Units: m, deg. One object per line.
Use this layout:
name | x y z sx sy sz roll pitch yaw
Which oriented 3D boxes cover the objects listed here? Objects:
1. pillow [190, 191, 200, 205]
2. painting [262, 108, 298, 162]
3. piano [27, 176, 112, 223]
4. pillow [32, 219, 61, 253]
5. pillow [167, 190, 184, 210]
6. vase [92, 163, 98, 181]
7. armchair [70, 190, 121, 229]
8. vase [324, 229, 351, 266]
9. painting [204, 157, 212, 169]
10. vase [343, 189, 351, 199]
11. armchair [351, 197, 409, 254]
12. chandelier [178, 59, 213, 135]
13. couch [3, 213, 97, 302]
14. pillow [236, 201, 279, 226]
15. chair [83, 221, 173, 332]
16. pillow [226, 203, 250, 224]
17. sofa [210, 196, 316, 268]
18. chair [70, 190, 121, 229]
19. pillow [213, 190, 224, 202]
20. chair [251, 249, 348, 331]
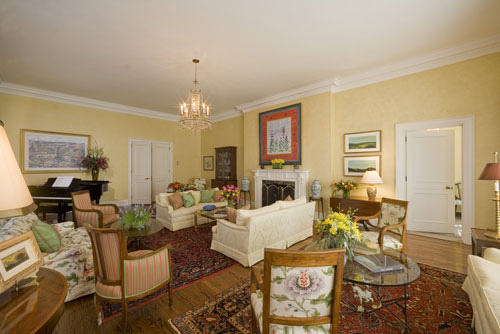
pillow | -1.478 0.847 8.269 0.138 0.365 0.303 -19 -6 24
painting | 0.929 -0.960 9.151 1.614 1.771 0.076 -2 -3 39
piano | -4.647 0.731 8.191 1.332 1.354 1.565 -1 -3 11
pillow | -3.513 1.192 5.430 0.335 0.518 0.442 5 4 -5
pillow | -1.887 0.872 7.877 0.315 0.401 0.372 -1 3 37
vase | -4.689 0.145 9.317 0.156 0.519 0.159 -4 3 -30
armchair | -3.478 1.076 7.237 1.044 1.360 0.991 -1 0 10
vase | 1.388 1.246 4.810 0.490 0.567 0.496 2 -9 -4
painting | -1.612 -0.162 11.919 0.032 0.453 0.444 2 -3 -40
vase | 2.456 0.680 7.776 0.178 0.224 0.251 -2 2 17
armchair | 2.654 1.096 6.066 0.889 1.272 0.989 3 2 -26
chandelier | -1.323 -1.555 7.406 0.809 1.761 0.843 0 0 -18
couch | -3.263 1.495 5.328 1.607 0.836 1.596 14 7 -37
pillow | 0.157 0.952 6.089 0.852 0.342 0.231 -3 2 -23
chair | -1.924 1.539 5.129 1.245 1.763 1.266 0 0 32
pillow | -0.261 0.970 6.316 0.269 0.334 0.135 8 13 29
sofa | 0.336 1.247 6.854 1.206 1.068 2.329 6 8 44
chair | -3.474 1.084 6.935 0.932 1.024 0.929 4 6 34
pillow | -0.925 0.830 8.779 0.322 0.328 0.138 2 -15 -7
chair | 0.669 1.638 4.645 1.079 1.803 1.131 1 5 3
